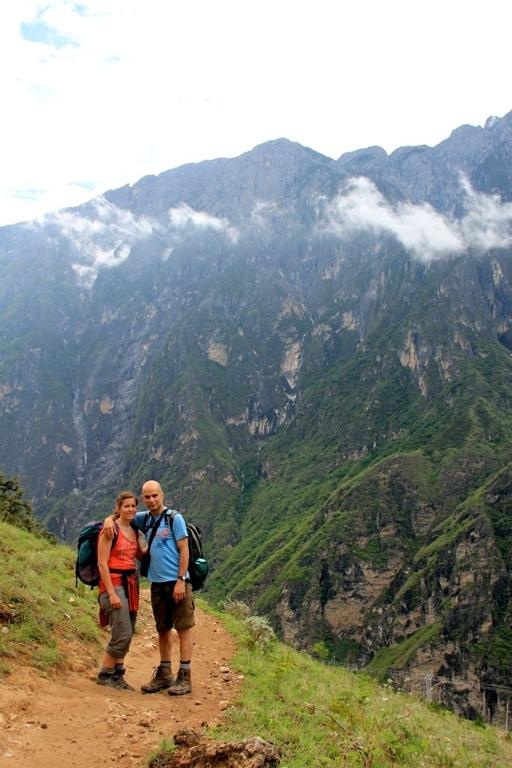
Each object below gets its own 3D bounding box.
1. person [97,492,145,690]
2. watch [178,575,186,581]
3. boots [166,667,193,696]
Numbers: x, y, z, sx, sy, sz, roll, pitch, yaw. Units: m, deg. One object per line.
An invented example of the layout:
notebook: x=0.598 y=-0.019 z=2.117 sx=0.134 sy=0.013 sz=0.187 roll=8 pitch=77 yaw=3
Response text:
person: x=-2.302 y=3.471 z=11.831 sx=0.859 sy=2.224 sz=0.731 roll=5 pitch=-3 yaw=-33
watch: x=-1.213 y=3.206 z=11.565 sx=0.086 sy=0.061 sz=0.092 roll=12 pitch=-24 yaw=-41
boots: x=-1.243 y=4.887 z=11.562 sx=0.356 sy=0.269 sz=0.512 roll=3 pitch=-3 yaw=31
